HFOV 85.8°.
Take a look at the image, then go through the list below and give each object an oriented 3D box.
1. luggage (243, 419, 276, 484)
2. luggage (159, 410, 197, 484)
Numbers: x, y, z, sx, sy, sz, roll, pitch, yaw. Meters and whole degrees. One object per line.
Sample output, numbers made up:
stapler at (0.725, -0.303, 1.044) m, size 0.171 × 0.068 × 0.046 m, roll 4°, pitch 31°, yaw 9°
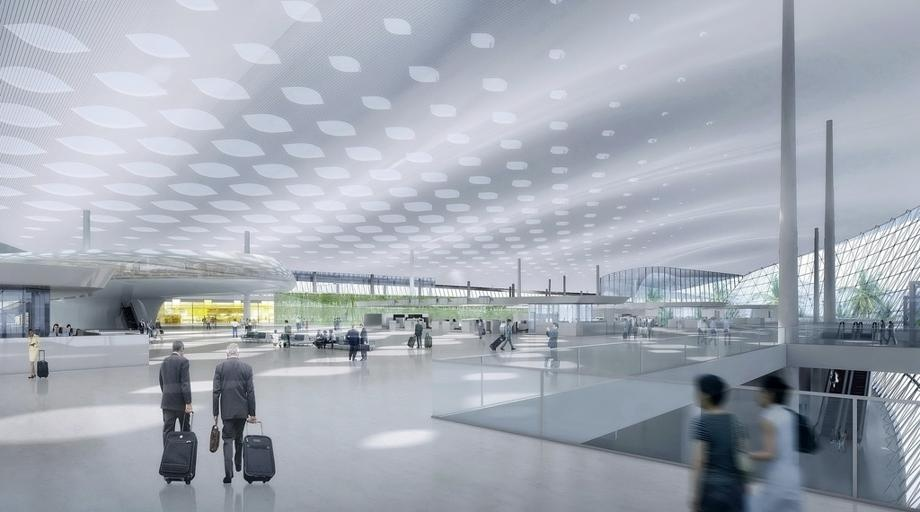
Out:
luggage at (-5.622, 5.647, 13.777) m, size 0.868 × 1.324 × 0.465 m, roll -3°, pitch -11°, yaw -10°
luggage at (-7.730, 5.596, 13.711) m, size 1.013 × 1.436 × 0.434 m, roll -6°, pitch -11°, yaw 4°
